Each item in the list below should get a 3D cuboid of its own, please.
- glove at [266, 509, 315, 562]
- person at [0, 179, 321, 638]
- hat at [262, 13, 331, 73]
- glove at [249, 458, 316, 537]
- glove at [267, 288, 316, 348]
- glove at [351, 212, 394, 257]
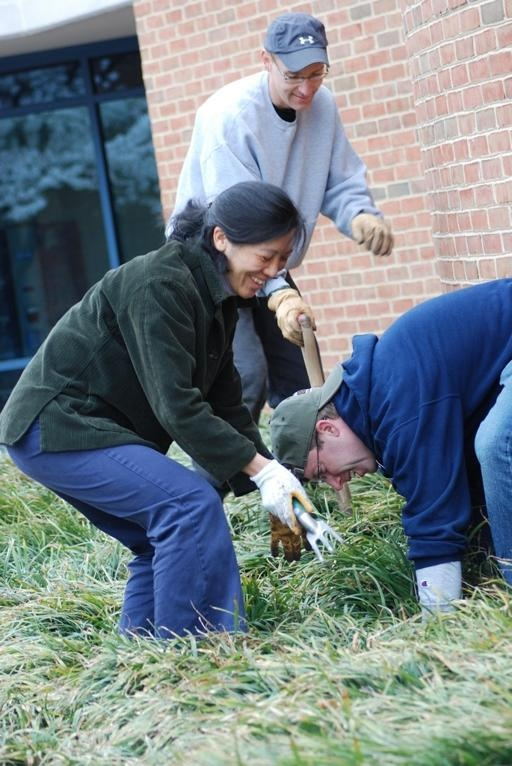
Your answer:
[{"bbox_3d":[0.113,0.480,2.386,0.108,0.061,0.217,2,23,-13],"label":"glove"},{"bbox_3d":[-0.271,0.107,2.251,0.988,1.297,0.401,-9,0,3],"label":"person"},{"bbox_3d":[0.163,-1.351,2.960,0.267,0.164,0.339,-9,40,-13],"label":"hat"},{"bbox_3d":[0.090,0.333,2.261,0.141,0.249,0.084,-55,-21,24],"label":"glove"},{"bbox_3d":[0.162,-0.262,2.993,0.110,0.242,0.145,-10,-32,-34],"label":"glove"},{"bbox_3d":[0.499,-0.644,3.293,0.166,0.192,0.247,-9,-1,8],"label":"glove"}]
